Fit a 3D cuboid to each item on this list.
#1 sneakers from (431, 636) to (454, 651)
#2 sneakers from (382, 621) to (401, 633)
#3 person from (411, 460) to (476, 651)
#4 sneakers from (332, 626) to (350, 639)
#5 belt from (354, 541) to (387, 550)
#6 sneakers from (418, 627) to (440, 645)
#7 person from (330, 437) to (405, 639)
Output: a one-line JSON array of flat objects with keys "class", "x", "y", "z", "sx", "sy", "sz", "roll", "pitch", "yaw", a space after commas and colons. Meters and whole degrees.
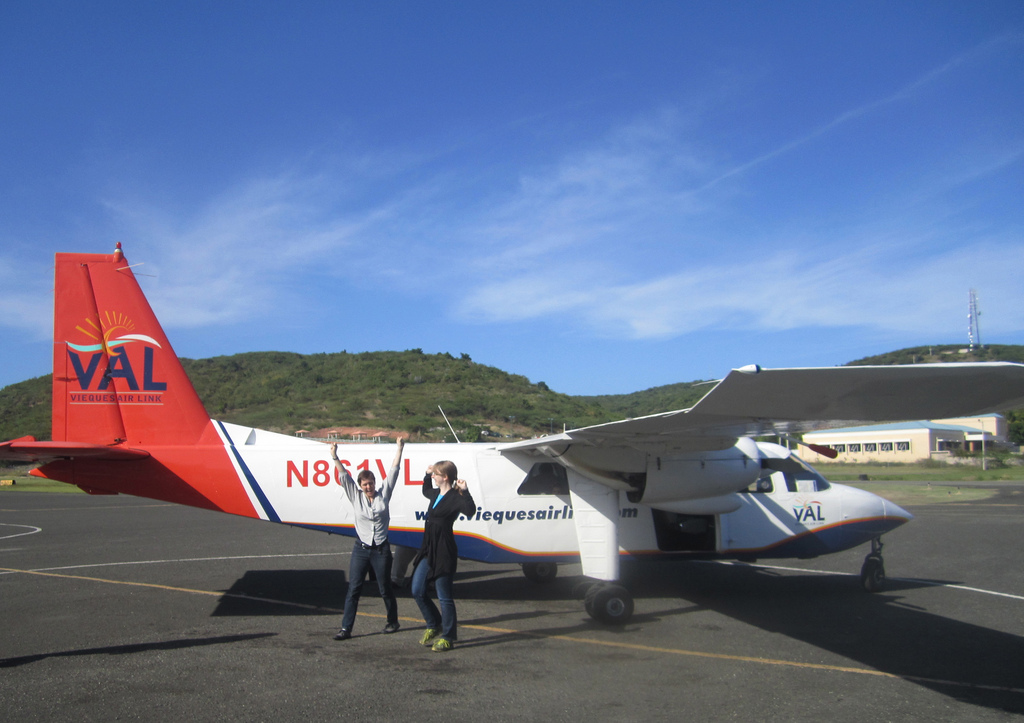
[{"class": "sneakers", "x": -0.993, "y": 3.770, "z": 9.331, "sx": 0.305, "sy": 0.193, "sz": 0.298, "roll": 1, "pitch": -5, "yaw": -4}, {"class": "sneakers", "x": -1.806, "y": 3.754, "z": 9.820, "sx": 0.139, "sy": 0.088, "sz": 0.225, "roll": -11, "pitch": -32, "yaw": 12}, {"class": "person", "x": -1.021, "y": 2.635, "z": 9.479, "sx": 0.823, "sy": 2.480, "sz": 0.480, "roll": 1, "pitch": -6, "yaw": -3}, {"class": "sneakers", "x": -2.416, "y": 3.750, "z": 9.530, "sx": 0.307, "sy": 0.112, "sz": 0.102, "roll": 13, "pitch": -22, "yaw": -37}, {"class": "belt", "x": -2.042, "y": 2.548, "z": 9.637, "sx": 0.464, "sy": 0.118, "sz": 0.185, "roll": 1, "pitch": -5, "yaw": -7}, {"class": "sneakers", "x": -1.178, "y": 3.754, "z": 9.441, "sx": 0.128, "sy": 0.133, "sz": 0.346, "roll": -7, "pitch": -13, "yaw": 32}, {"class": "person", "x": -2.205, "y": 2.505, "z": 10.050, "sx": 1.031, "sy": 2.735, "sz": 1.105, "roll": 1, "pitch": -6, "yaw": -11}]
